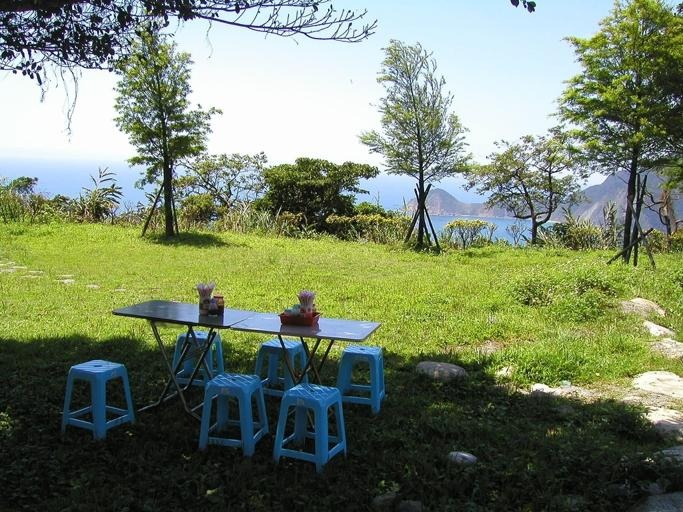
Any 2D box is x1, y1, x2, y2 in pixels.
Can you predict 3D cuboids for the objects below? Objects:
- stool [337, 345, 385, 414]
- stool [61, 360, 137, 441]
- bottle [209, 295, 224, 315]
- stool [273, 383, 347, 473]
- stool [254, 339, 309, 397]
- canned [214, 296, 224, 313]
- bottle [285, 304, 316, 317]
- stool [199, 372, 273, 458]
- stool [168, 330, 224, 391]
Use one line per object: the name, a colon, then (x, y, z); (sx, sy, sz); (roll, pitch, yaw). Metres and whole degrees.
stool: (0.267, 1.459, 7.055); (0.614, 0.746, 0.668); (1, 1, 16)
stool: (-2.624, 1.550, 6.369); (0.675, 0.674, 0.690); (4, 4, 41)
bottle: (-1.381, 0.555, 6.626); (0.210, 0.219, 0.132); (1, 1, 3)
stool: (-0.317, 1.723, 6.027); (0.752, 0.691, 0.775); (1, 3, -25)
stool: (-0.752, 1.379, 7.301); (0.679, 0.611, 0.688); (4, -10, -21)
canned: (-1.416, 0.550, 6.669); (0.125, 0.192, 0.178); (0, 0, -8)
bottle: (-0.458, 0.585, 6.458); (0.378, 0.115, 0.216); (2, 8, -6)
stool: (-1.063, 1.609, 6.310); (0.716, 0.744, 0.744); (4, 6, 10)
stool: (-1.771, 1.323, 7.377); (0.620, 0.613, 0.643); (5, 3, 38)
